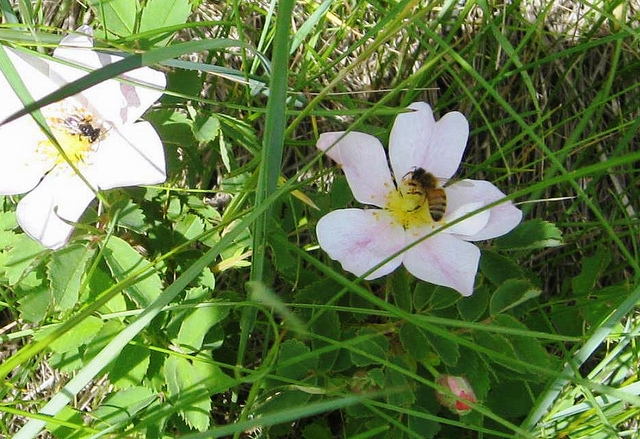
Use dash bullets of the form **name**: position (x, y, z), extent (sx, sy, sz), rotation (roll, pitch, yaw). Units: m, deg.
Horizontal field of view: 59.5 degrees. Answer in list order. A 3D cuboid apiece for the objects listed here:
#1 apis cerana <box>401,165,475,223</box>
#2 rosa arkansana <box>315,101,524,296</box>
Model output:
- **apis cerana**: position (0.390, -0.097, 1.878), extent (0.140, 0.221, 0.233), rotation (-1, 12, 3)
- **rosa arkansana**: position (0.303, -0.075, 1.781), extent (0.649, 0.536, 0.350), rotation (6, 20, 4)
